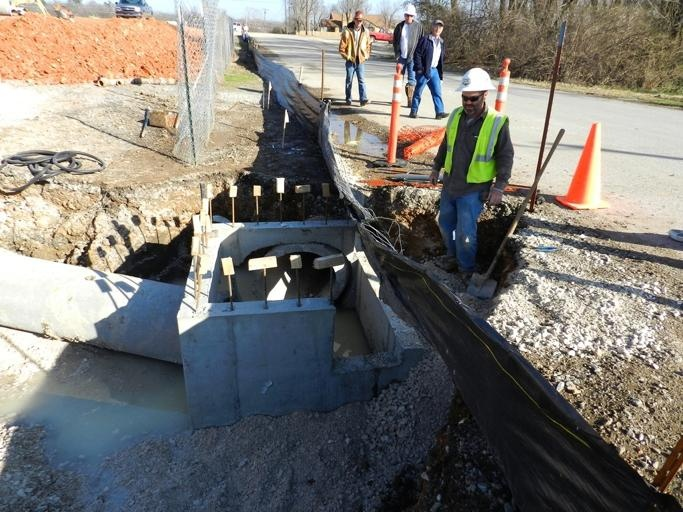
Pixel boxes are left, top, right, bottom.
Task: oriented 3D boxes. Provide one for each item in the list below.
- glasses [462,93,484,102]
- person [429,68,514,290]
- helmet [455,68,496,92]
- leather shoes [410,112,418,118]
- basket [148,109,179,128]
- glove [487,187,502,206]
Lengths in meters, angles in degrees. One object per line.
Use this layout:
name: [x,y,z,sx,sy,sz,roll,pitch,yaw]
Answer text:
glasses: [1.354,-1.662,4.809,0.215,0.097,0.121,8,25,13]
person: [1.443,-0.835,5.184,0.802,2.370,0.469,15,27,28]
helmet: [1.394,-1.845,4.836,0.332,0.249,0.336,8,25,12]
leather shoes: [1.548,-3.132,10.070,0.183,0.123,0.101,6,68,10]
basket: [-3.511,-2.719,9.104,0.342,0.322,0.502,0,15,-17]
glove: [1.628,-0.648,4.986,0.166,0.168,0.063,-7,-4,5]
